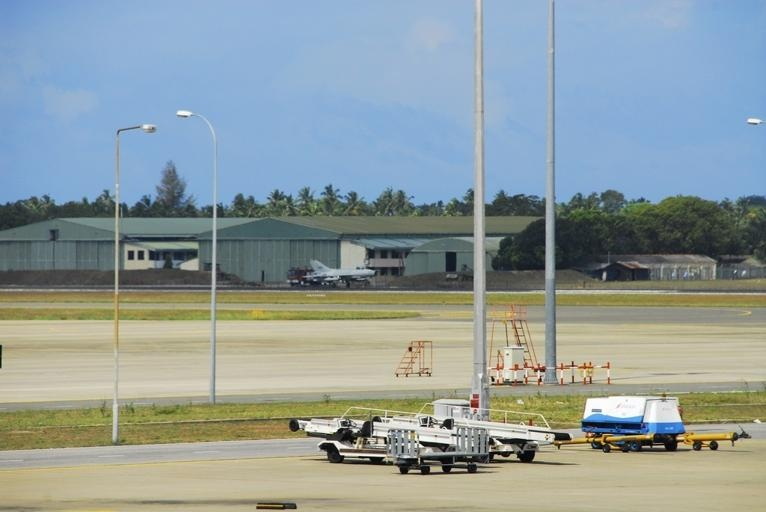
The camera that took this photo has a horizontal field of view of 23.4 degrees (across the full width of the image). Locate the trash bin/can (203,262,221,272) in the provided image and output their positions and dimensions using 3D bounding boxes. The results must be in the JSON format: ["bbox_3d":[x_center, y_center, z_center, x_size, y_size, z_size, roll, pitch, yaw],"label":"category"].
[{"bbox_3d":[-22.842,1.607,248.200,2.136,1.785,1.498,-1,-6,6],"label":"trash bin/can"}]
